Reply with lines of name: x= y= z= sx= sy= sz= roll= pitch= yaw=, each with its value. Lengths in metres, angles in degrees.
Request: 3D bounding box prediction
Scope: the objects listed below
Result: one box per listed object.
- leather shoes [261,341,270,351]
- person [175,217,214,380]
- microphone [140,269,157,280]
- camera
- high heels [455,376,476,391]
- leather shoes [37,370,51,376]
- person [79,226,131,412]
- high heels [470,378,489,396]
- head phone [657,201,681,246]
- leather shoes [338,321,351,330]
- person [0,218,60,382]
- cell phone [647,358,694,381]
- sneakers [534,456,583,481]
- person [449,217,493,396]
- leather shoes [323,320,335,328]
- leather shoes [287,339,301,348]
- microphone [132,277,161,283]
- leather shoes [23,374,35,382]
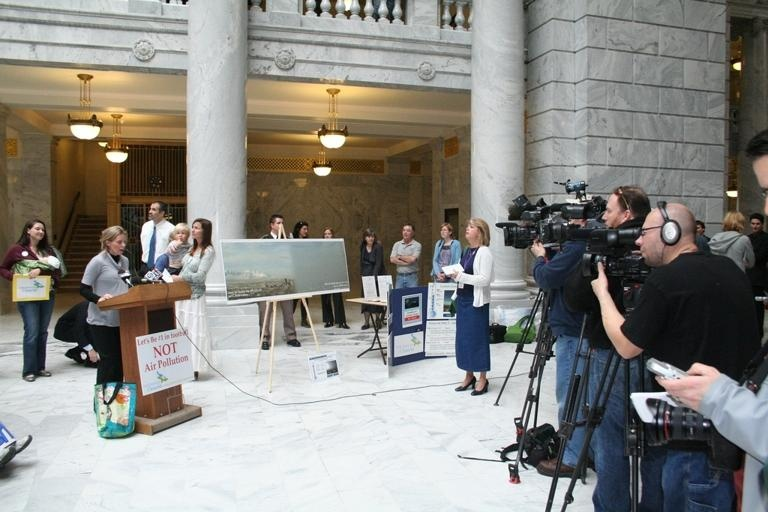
leather shoes: x=-1.906 y=1.427 z=10.096 sx=0.115 sy=0.118 sz=0.179 roll=-2 pitch=10 yaw=-13
person: x=-2.590 y=0.583 z=8.524 sx=0.477 sy=2.146 sz=0.689 roll=1 pitch=10 yaw=8
microphone: x=-2.933 y=0.228 z=7.818 sx=0.137 sy=0.133 sz=0.042 roll=15 pitch=-20 yaw=15
camera: x=1.958 y=1.126 z=4.098 sx=0.618 sy=0.274 sz=0.342 roll=12 pitch=-25 yaw=33
high heels: x=1.058 y=1.665 z=8.229 sx=0.373 sy=0.188 sz=0.122 roll=-4 pitch=1 yaw=-25
leather shoes: x=-4.652 y=1.593 z=8.602 sx=0.178 sy=0.072 sz=0.066 roll=-2 pitch=-4 yaw=24
person: x=-3.265 y=0.563 z=7.369 sx=0.521 sy=1.748 sz=0.850 roll=-4 pitch=11 yaw=-19
high heels: x=1.239 y=1.677 z=7.974 sx=0.322 sy=0.150 sz=0.107 roll=4 pitch=-7 yaw=-44
head phone: x=2.127 y=-0.241 z=4.642 sx=0.144 sy=0.330 sz=0.381 roll=-10 pitch=-6 yaw=35
leather shoes: x=-0.797 y=1.344 z=12.160 sx=0.308 sy=0.150 sz=0.101 roll=-5 pitch=-4 yaw=38
person: x=-4.739 y=0.595 z=8.501 sx=0.687 sy=2.116 sz=0.751 roll=-3 pitch=11 yaw=-14
cell phone: x=1.877 y=0.735 z=4.111 sx=0.301 sy=0.116 sz=0.075 roll=18 pitch=37 yaw=2
sneakers: x=1.606 y=1.979 z=5.897 sx=0.465 sy=0.200 sz=0.220 roll=4 pitch=-1 yaw=20
person: x=1.072 y=0.660 z=7.859 sx=0.511 sy=2.210 sz=0.533 roll=1 pitch=11 yaw=8
leather shoes: x=-1.076 y=1.327 z=12.251 sx=0.104 sy=0.125 sz=0.310 roll=-2 pitch=-7 yaw=21
leather shoes: x=-1.489 y=1.451 z=10.432 sx=0.111 sy=0.083 sz=0.214 roll=2 pitch=-5 yaw=-40
microphone: x=-3.332 y=0.331 z=8.759 sx=0.273 sy=0.066 sz=0.288 roll=1 pitch=-2 yaw=-11
leather shoes: x=-4.713 y=1.618 z=8.350 sx=0.194 sy=0.080 sz=0.065 roll=-6 pitch=-7 yaw=44
